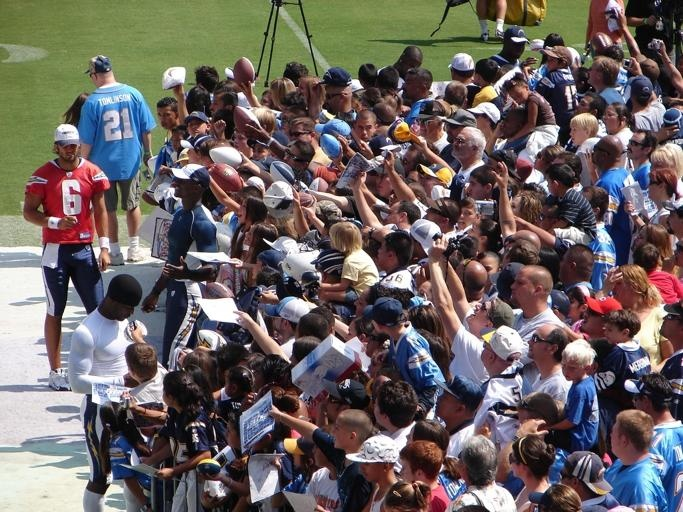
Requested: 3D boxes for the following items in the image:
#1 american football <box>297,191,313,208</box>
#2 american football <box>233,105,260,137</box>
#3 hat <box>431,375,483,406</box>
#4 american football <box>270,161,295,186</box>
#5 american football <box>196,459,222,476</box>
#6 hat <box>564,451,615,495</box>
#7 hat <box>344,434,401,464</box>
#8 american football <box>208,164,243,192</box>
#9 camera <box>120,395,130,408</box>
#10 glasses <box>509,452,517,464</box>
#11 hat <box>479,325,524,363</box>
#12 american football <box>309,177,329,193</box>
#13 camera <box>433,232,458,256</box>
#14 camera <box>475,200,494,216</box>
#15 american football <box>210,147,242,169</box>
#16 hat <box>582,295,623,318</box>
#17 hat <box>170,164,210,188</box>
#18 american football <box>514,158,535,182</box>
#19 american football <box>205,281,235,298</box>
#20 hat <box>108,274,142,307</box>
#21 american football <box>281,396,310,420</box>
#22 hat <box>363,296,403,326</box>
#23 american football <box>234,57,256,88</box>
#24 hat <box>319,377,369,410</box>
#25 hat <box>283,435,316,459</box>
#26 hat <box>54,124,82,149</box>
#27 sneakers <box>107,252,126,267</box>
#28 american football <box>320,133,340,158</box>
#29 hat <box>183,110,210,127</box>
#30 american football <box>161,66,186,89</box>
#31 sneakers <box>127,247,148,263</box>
[{"bbox_3d":[-0.413,-0.659,17.588,0.168,0.100,0.134,9,-4,21],"label":"american football"},{"bbox_3d":[-1.255,-1.737,18.885,0.228,0.375,0.280,-44,52,-18],"label":"american football"},{"bbox_3d":[1.204,1.345,14.856,0.383,0.196,0.269,15,11,8],"label":"hat"},{"bbox_3d":[-0.705,-0.987,17.658,0.311,0.183,0.230,38,0,9],"label":"american football"},{"bbox_3d":[-1.342,2.146,14.942,0.185,0.110,0.181,-1,-2,-8],"label":"american football"},{"bbox_3d":[2.428,2.066,14.284,0.458,0.262,0.321,30,19,14],"label":"hat"},{"bbox_3d":[0.339,1.857,14.257,0.390,0.158,0.269,2,-1,-2],"label":"hat"},{"bbox_3d":[-1.413,-0.951,18.184,0.383,0.278,0.239,35,36,-3],"label":"american football"},{"bbox_3d":[-2.305,1.521,15.644,0.115,0.133,0.207,4,-5,-18],"label":"camera"},{"bbox_3d":[1.693,1.980,14.442,0.092,0.098,0.105,0,-1,3],"label":"glasses"},{"bbox_3d":[1.661,0.886,15.142,0.279,0.223,0.386,-19,53,-27],"label":"hat"},{"bbox_3d":[-0.266,-0.878,18.314,0.234,0.162,0.234,2,11,-2],"label":"american football"},{"bbox_3d":[1.166,-0.124,15.920,0.277,0.211,0.135,28,-22,-27],"label":"camera"},{"bbox_3d":[1.700,-0.556,17.283,0.250,0.167,0.160,-1,3,2],"label":"camera"},{"bbox_3d":[-1.443,-1.243,18.360,0.347,0.218,0.241,13,21,3],"label":"american football"},{"bbox_3d":[2.832,0.526,15.797,0.311,0.116,0.198,12,15,-7],"label":"hat"},{"bbox_3d":[-1.765,-0.951,17.317,0.374,0.180,0.238,14,5,-10],"label":"hat"},{"bbox_3d":[2.310,-1.084,18.506,0.200,0.290,0.285,-9,49,26],"label":"american football"},{"bbox_3d":[-1.438,0.404,17.167,0.265,0.092,0.192,25,6,34],"label":"american football"},{"bbox_3d":[-2.413,0.392,16.303,0.375,0.347,0.206,0,11,-10],"label":"hat"},{"bbox_3d":[-0.450,1.555,15.231,0.193,0.252,0.208,-27,28,46],"label":"american football"},{"bbox_3d":[0.442,0.532,15.103,0.342,0.189,0.242,27,42,34],"label":"hat"},{"bbox_3d":[-1.385,-2.594,20.988,0.278,0.395,0.346,1,11,-7],"label":"american football"},{"bbox_3d":[0.066,1.412,14.893,0.382,0.195,0.253,14,27,-6],"label":"hat"},{"bbox_3d":[-0.439,1.932,14.851,0.189,0.228,0.389,-6,14,-36],"label":"hat"},{"bbox_3d":[-3.378,-1.463,18.065,0.276,0.253,0.253,0,11,-11],"label":"hat"},{"bbox_3d":[-3.192,0.056,20.911,0.274,0.268,0.156,2,34,-9],"label":"sneakers"},{"bbox_3d":[-0.125,-1.359,18.523,0.266,0.300,0.274,2,11,0],"label":"american football"},{"bbox_3d":[-1.996,-1.893,20.354,0.207,0.158,0.296,-14,-5,9],"label":"hat"},{"bbox_3d":[-2.381,-2.509,21.319,0.339,0.199,0.475,-9,34,13],"label":"american football"},{"bbox_3d":[-2.924,-0.016,21.232,0.316,0.199,0.200,-7,14,-38],"label":"sneakers"}]
